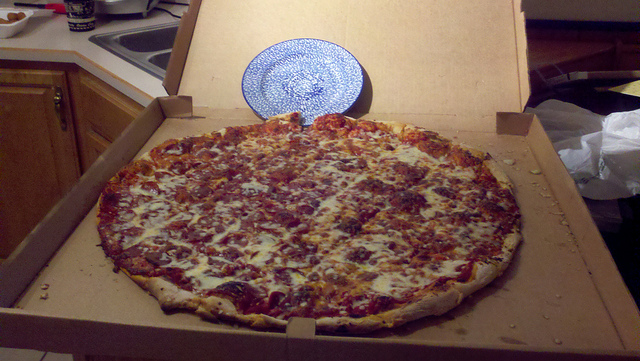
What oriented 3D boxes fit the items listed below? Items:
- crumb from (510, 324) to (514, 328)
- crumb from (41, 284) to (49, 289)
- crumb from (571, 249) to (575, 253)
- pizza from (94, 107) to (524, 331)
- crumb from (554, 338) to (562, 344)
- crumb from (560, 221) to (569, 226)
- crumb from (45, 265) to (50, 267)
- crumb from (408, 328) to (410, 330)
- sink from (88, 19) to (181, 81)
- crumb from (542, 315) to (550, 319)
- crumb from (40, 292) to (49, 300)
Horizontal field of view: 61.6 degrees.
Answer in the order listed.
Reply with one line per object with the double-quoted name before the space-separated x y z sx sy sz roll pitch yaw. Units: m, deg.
"crumb" 0.696 0.528 1.948 0.014 0.005 0.015 7 37 10
"crumb" -1.029 0.394 1.990 0.019 0.004 0.014 -2 37 -23
"crumb" 1.001 0.279 2.125 0.012 0.005 0.017 6 37 9
"pizza" -0.035 0.125 2.282 1.774 0.271 1.076 -1 37 0
"crumb" 0.848 0.573 1.916 0.025 0.006 0.018 4 37 6
"crumb" 1.008 0.177 2.211 0.032 0.006 0.021 12 39 16
"crumb" -1.044 0.325 2.036 0.013 0.004 0.006 -8 38 -9
"crumb" 0.319 0.541 1.950 0.007 0.002 0.007 7 38 12
"sink" -1.117 -0.753 3.190 0.480 0.195 0.756 -5 37 -5
"crumb" 0.828 0.500 1.964 0.022 0.004 0.012 -2 37 -1
"crumb" -1.022 0.427 1.970 0.022 0.007 0.021 6 26 -6
